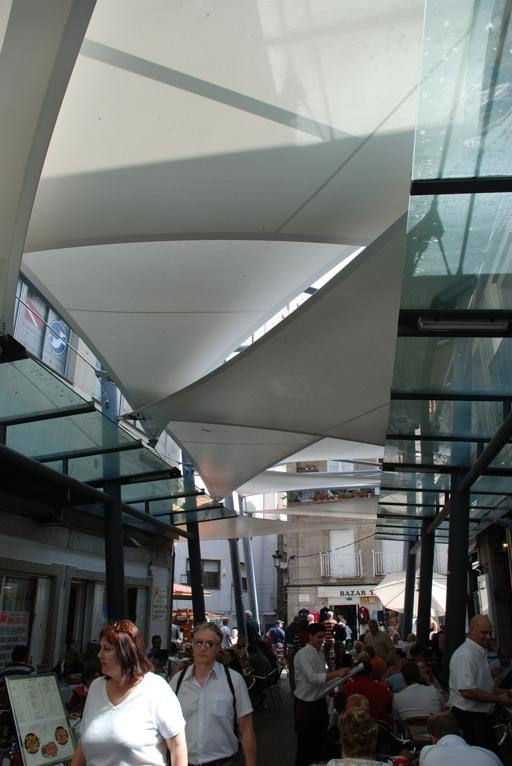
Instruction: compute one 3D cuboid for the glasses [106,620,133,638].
[{"bbox_3d":[-0.554,0.991,2.136,0.092,0.088,0.073,0,-17,-13],"label":"glasses"}]
